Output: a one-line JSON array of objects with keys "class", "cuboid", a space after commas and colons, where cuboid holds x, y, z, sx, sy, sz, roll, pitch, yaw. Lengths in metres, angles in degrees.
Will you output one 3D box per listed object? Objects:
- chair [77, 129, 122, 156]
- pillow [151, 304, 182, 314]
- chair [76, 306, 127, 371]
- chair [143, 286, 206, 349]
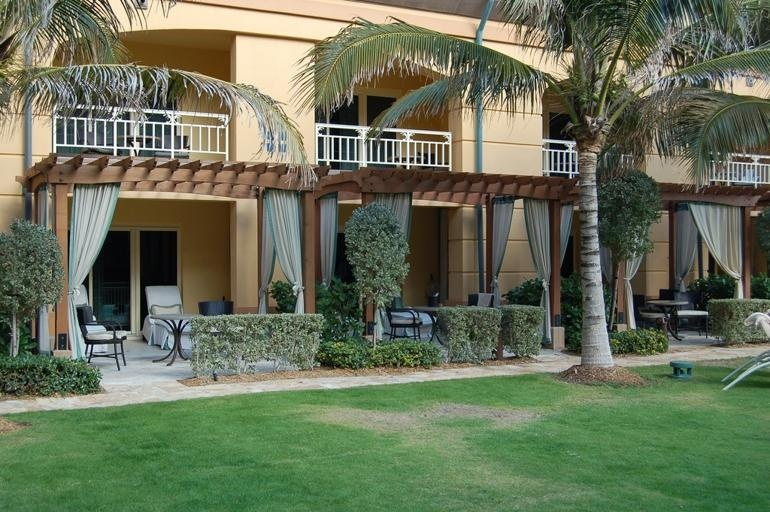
[{"class": "chair", "cuboid": [-6.228, -2.516, 15.792, 0.839, 0.562, 1.855, -2, 8, -22]}, {"class": "pillow", "cuboid": [-5.067, 1.256, 16.702, 0.417, 0.123, 0.318, -1, -44, -10]}, {"class": "chair", "cuboid": [-5.415, 1.585, 13.925, 0.929, 1.177, 0.990, -1, -3, 42]}, {"class": "chair", "cuboid": [-4.918, 1.394, 16.784, 1.112, 1.257, 1.587, 0, 3, -35]}]
